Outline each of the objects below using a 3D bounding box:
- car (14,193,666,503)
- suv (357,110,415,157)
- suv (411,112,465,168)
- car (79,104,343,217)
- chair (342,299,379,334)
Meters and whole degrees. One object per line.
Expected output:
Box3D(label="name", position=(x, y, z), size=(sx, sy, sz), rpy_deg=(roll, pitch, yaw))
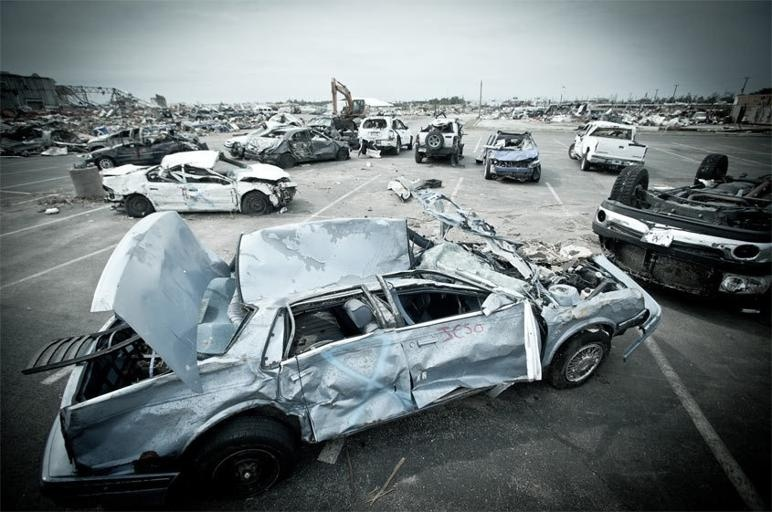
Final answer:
Box3D(label="car", position=(-0.038, 1.180, 6.355), size=(8.259, 2.912, 3.817), rpy_deg=(-14, 45, -10))
Box3D(label="suv", position=(0.005, -6.013, 20.480), size=(1.628, 1.302, 3.092), rpy_deg=(6, 31, 11))
Box3D(label="suv", position=(2.134, -4.703, 17.255), size=(1.655, 1.786, 1.966), rpy_deg=(5, 22, 17))
Box3D(label="car", position=(-5.096, -2.083, 11.337), size=(4.847, 1.447, 2.320), rpy_deg=(-3, 40, -6))
Box3D(label="chair", position=(-0.315, 0.748, 5.267), size=(0.292, 0.379, 0.449), rpy_deg=(-12, 24, -25))
